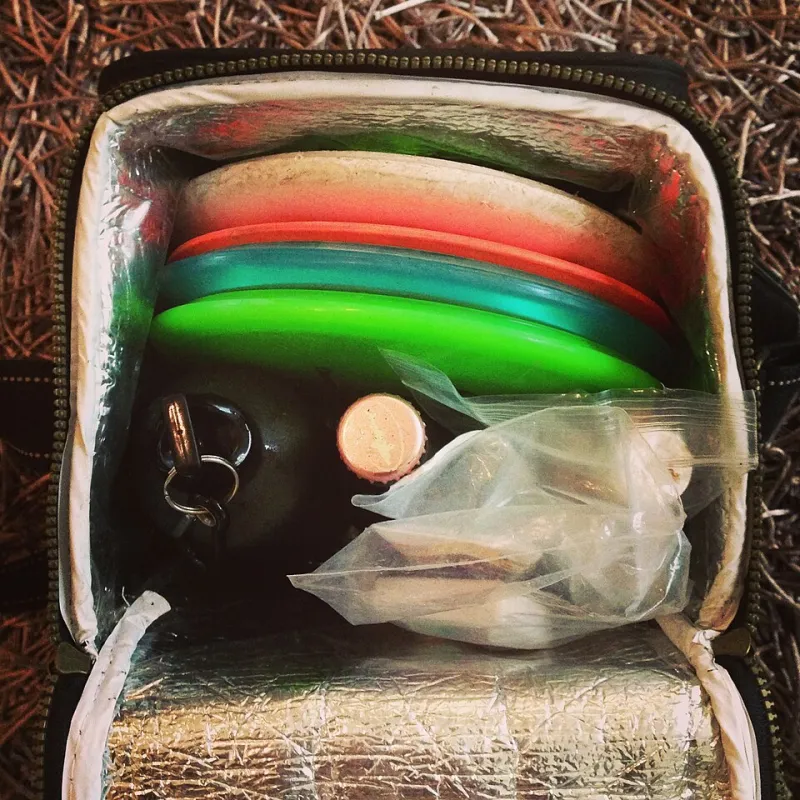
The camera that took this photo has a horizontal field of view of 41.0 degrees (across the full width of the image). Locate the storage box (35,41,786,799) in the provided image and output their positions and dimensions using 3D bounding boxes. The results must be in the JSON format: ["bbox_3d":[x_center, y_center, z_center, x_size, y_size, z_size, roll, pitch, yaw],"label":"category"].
[{"bbox_3d":[-0.009,0.042,1.026,0.728,0.224,0.727,-11,82,0],"label":"storage box"}]
